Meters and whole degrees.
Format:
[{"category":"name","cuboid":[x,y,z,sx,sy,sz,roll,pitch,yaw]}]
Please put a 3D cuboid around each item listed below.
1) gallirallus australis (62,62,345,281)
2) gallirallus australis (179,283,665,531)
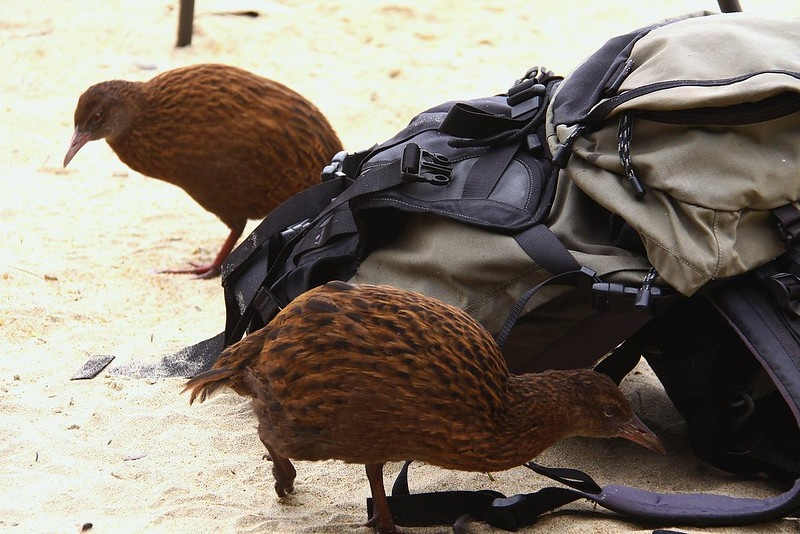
[{"category":"gallirallus australis","cuboid":[-1.155,-0.537,5.089,0.955,0.976,1.814,17,16,35]},{"category":"gallirallus australis","cuboid":[0.049,0.394,3.616,1.712,0.703,0.668,15,24,-2]}]
